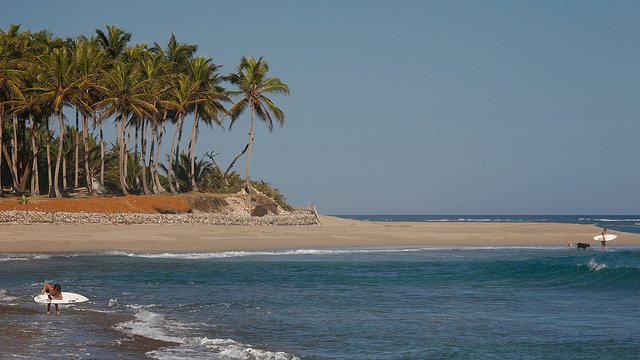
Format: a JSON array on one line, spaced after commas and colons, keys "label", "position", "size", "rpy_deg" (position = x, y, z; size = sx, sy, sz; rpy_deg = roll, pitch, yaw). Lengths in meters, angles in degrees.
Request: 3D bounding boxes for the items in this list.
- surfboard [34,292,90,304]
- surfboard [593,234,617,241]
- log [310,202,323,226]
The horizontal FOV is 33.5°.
[{"label": "surfboard", "position": [-18.921, 8.712, 76.761], "size": [4.197, 0.457, 1.158], "rpy_deg": [6, 22, -15]}, {"label": "surfboard", "position": [26.869, 5.423, 100.145], "size": [2.564, 0.650, 0.534], "rpy_deg": [-1, -2, -30]}, {"label": "log", "position": [-0.325, 3.814, 111.068], "size": [1.022, 1.554, 4.117], "rpy_deg": [3, 7, -1]}]
